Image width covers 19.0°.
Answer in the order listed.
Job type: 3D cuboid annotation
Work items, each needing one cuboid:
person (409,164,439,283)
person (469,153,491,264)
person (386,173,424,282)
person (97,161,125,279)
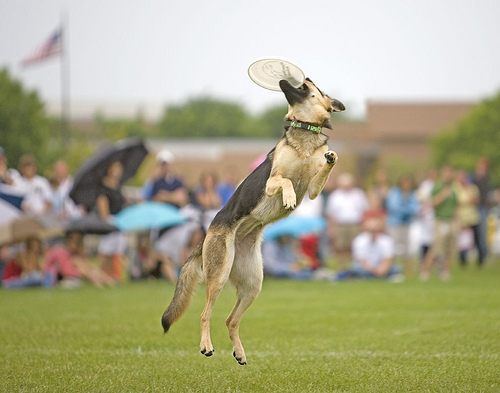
[{"bbox_3d":[3.044,0.568,26.292,0.368,1.821,0.897,17,-20,-15],"label":"person"},{"bbox_3d":[3.934,0.220,25.658,0.262,1.855,0.233,2,8,11],"label":"person"},{"bbox_3d":[2.811,0.573,26.594,0.704,2.115,0.608,-4,-10,21],"label":"person"},{"bbox_3d":[-2.324,0.346,24.962,0.590,0.512,2.046,13,-40,1],"label":"person"}]
